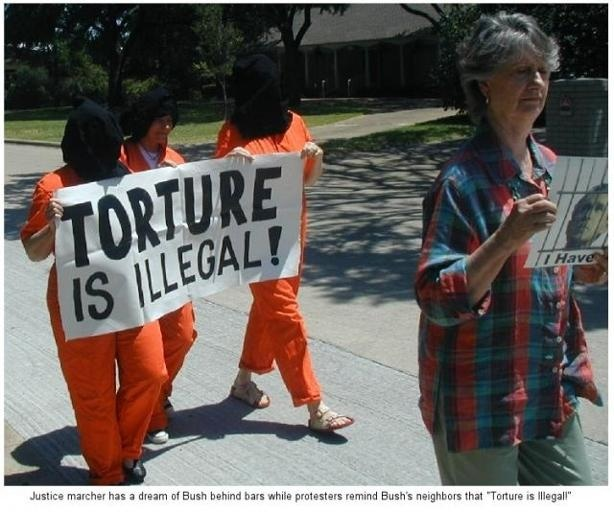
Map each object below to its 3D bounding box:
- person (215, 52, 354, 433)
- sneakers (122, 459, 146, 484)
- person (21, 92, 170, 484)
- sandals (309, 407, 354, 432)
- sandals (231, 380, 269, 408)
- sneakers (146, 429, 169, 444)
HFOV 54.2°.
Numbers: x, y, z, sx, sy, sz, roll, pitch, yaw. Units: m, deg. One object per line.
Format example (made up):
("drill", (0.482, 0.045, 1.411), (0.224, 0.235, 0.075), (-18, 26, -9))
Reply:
("person", (-0.211, -0.097, 4.206), (0.800, 2.577, 1.028), (-2, 12, -22))
("sneakers", (-1.049, 1.300, 3.621), (0.071, 0.082, 0.203), (0, 0, -34))
("person", (-1.221, 0.230, 3.493), (0.778, 2.229, 0.505), (0, 11, -10))
("sandals", (0.162, 1.089, 4.067), (0.160, 0.125, 0.265), (-12, 3, -41))
("sandals", (-0.440, 1.041, 4.608), (0.285, 0.123, 0.145), (16, 31, 36))
("sneakers", (-1.007, 1.218, 4.028), (0.170, 0.068, 0.063), (-1, 1, 45))
